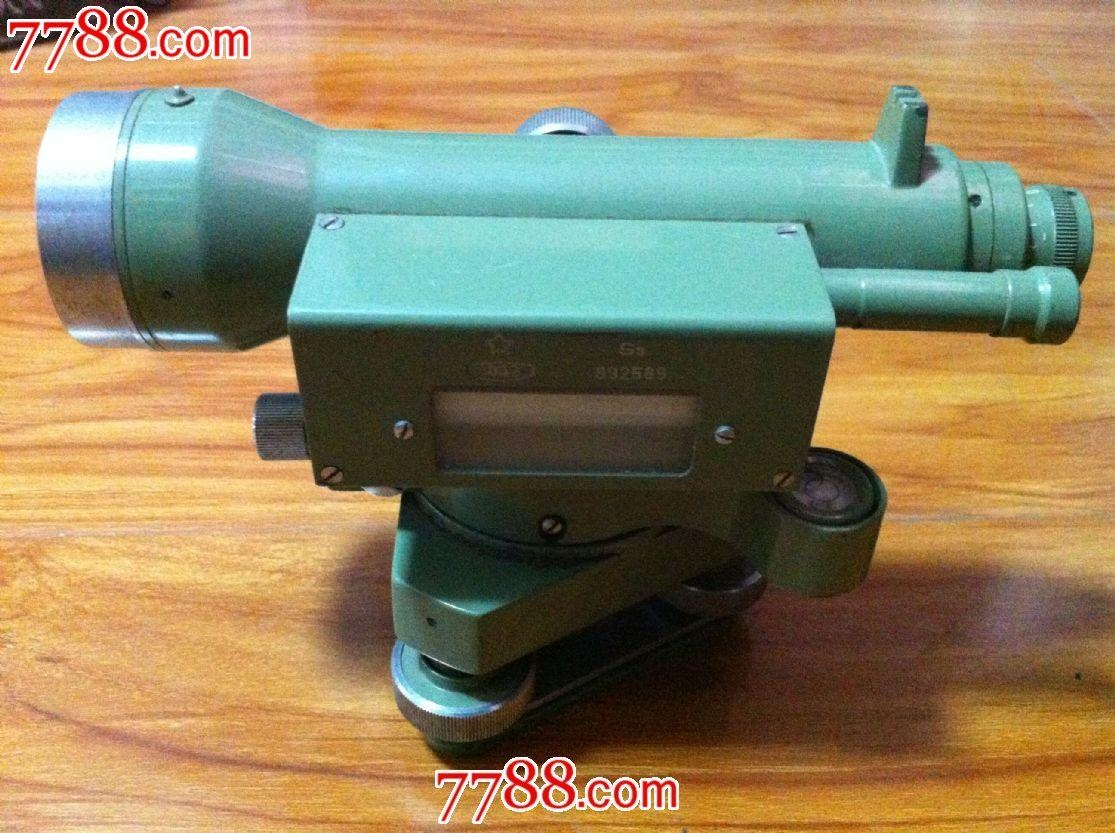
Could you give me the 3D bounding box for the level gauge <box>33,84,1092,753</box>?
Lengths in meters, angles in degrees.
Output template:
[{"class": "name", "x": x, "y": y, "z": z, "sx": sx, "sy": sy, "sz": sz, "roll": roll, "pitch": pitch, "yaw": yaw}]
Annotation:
[{"class": "level gauge", "x": 0.018, "y": -0.081, "z": 0.936, "sx": 0.750, "sy": 0.406, "sz": 0.323, "roll": 4, "pitch": 50, "yaw": 3}]
